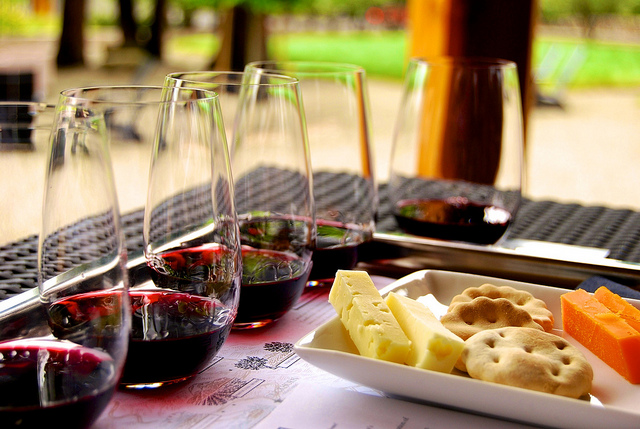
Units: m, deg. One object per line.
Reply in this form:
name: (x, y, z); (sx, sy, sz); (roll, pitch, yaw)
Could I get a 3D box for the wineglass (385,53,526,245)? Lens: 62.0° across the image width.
wineglass: (0.186, -0.082, 0.722); (0.177, 0.246, 0.107); (7, 19, 16)

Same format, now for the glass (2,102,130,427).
glass: (-0.192, 0.050, 0.462); (0.098, 0.283, 0.127); (-12, 22, -39)

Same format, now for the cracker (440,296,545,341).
cracker: (0.175, 0.115, 0.557); (0.100, 0.013, 0.096); (0, 4, 20)

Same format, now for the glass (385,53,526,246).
glass: (0.183, -0.079, 0.702); (0.200, 0.241, 0.136); (0, 10, 15)

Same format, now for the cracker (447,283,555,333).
cracker: (0.213, 0.093, 0.620); (0.125, 0.045, 0.090); (5, 5, 31)

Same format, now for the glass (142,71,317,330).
glass: (-0.109, 0.007, 0.620); (0.168, 0.325, 0.150); (12, 18, 37)
